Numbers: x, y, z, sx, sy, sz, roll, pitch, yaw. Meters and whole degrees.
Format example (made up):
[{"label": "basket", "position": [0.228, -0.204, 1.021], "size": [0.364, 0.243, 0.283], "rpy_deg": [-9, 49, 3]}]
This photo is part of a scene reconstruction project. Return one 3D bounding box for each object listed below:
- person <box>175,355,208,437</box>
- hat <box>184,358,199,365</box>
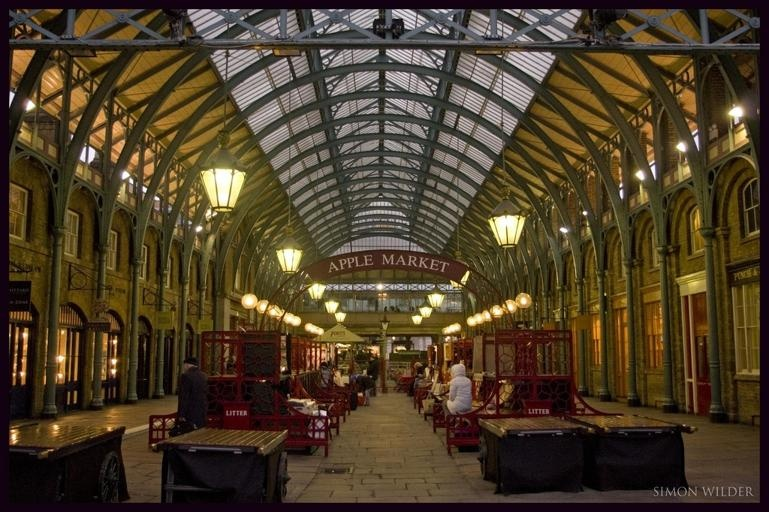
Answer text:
[{"label": "person", "position": [-4.075, 2.901, 13.276], "size": [0.586, 1.525, 0.543], "rpy_deg": [3, -15, -18]}, {"label": "hat", "position": [-4.159, 2.252, 13.518], "size": [0.205, 0.114, 0.290], "rpy_deg": [1, -10, -9]}]
